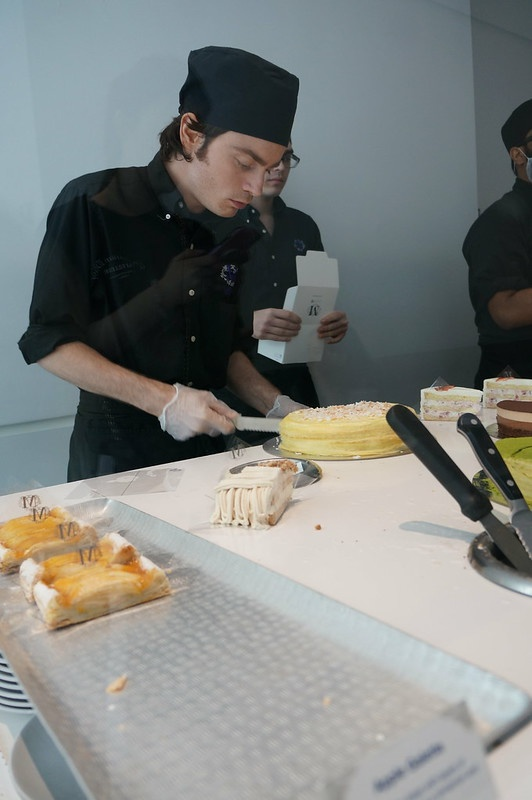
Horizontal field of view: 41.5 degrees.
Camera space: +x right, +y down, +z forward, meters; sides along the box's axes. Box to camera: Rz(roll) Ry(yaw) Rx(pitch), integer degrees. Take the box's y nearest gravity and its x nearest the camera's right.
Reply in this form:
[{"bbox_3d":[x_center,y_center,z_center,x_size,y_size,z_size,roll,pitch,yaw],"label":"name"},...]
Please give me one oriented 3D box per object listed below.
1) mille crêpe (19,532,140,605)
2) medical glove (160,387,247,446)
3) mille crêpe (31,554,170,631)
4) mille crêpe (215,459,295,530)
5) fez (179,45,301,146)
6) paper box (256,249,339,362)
[{"bbox_3d":[-0.208,0.166,0.749,0.095,0.031,0.071,-13,7,-33],"label":"mille crêpe"},{"bbox_3d":[-0.166,0.056,1.613,0.222,0.107,0.051,9,20,-37],"label":"medical glove"},{"bbox_3d":[-0.167,0.181,0.692,0.094,0.025,0.066,-9,9,-23],"label":"mille crêpe"},{"bbox_3d":[-0.012,0.126,0.959,0.070,0.046,0.102,-5,15,19],"label":"mille crêpe"},{"bbox_3d":[-0.068,-0.930,2.115,0.395,0.234,0.313,25,26,26],"label":"fez"},{"bbox_3d":[0.078,-0.338,2.524,0.329,0.392,0.309,6,11,9],"label":"paper box"}]
